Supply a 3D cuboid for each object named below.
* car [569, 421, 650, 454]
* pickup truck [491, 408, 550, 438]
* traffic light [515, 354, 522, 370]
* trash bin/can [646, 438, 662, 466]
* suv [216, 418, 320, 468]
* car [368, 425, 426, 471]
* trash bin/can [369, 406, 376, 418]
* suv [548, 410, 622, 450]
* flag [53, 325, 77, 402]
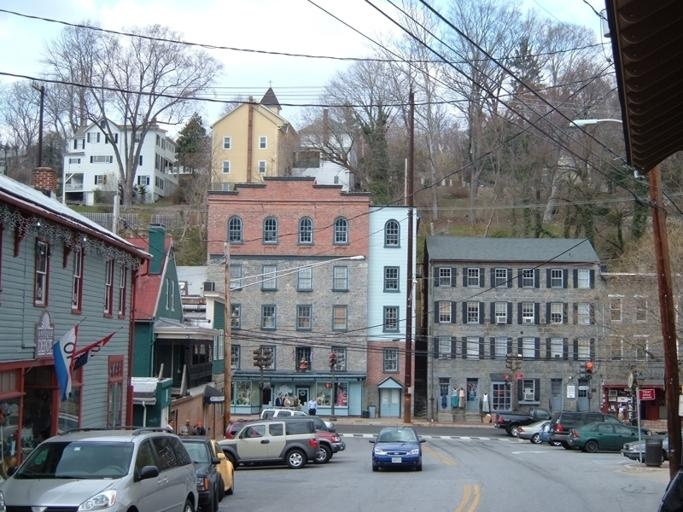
[{"bbox_3d":[13.707,9.534,57.063,3.023,1.573,3.790,5,-10,-27],"label":"car"},{"bbox_3d":[11.621,10.841,69.752,3.118,1.480,1.568,-3,-2,-6],"label":"pickup truck"},{"bbox_3d":[12.805,7.793,79.597,0.506,1.115,0.314,1,-11,-9],"label":"traffic light"},{"bbox_3d":[13.915,8.898,48.875,0.880,1.246,0.989,1,-6,-2],"label":"trash bin/can"},{"bbox_3d":[-3.720,8.210,50.909,5.002,2.686,2.721,0,24,-5],"label":"suv"},{"bbox_3d":[2.500,9.181,50.885,2.239,2.301,5.857,-1,-12,3],"label":"car"},{"bbox_3d":[2.104,11.416,78.947,0.572,1.089,0.665,-2,-3,33],"label":"trash bin/can"},{"bbox_3d":[12.869,9.420,58.645,3.154,2.060,3.435,-4,-8,-6],"label":"suv"},{"bbox_3d":[-10.663,4.129,42.508,0.944,3.111,0.212,-13,28,-33],"label":"flag"}]
